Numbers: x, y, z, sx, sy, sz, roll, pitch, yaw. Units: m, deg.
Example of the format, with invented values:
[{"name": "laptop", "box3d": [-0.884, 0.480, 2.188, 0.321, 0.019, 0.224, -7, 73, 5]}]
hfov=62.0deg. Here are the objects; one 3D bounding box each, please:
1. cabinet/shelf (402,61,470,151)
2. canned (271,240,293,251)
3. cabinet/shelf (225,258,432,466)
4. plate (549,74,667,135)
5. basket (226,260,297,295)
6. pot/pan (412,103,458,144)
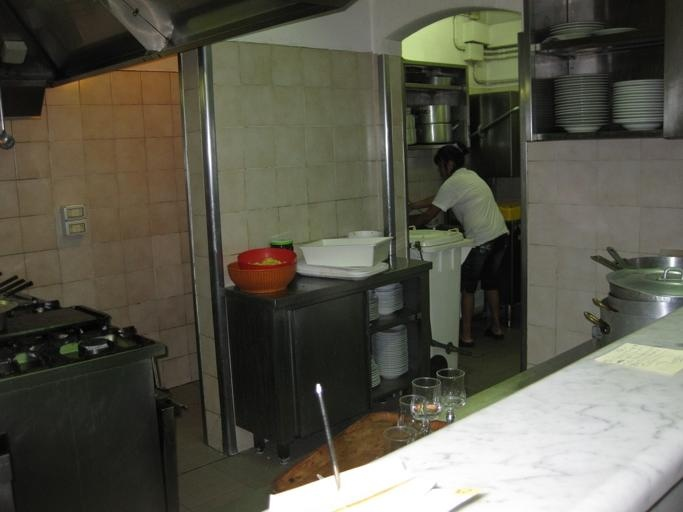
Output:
[{"name": "cabinet/shelf", "box3d": [0.844, -1.422, 5.544, 0.937, 0.790, 0.327, -11, 11, -40]}, {"name": "canned", "box3d": [-0.360, -0.070, 3.542, 0.083, 0.074, 0.082, -5, 6, -32]}, {"name": "cabinet/shelf", "box3d": [0.005, 0.604, 3.658, 1.307, 0.949, 0.491, -10, 10, -42]}, {"name": "plate", "box3d": [1.362, -0.752, 2.904, 0.466, 0.206, 0.315, 6, 11, 42]}, {"name": "basket", "box3d": [-0.431, 0.126, 3.177, 0.231, 0.094, 0.219, -8, 11, -25]}, {"name": "pot/pan", "box3d": [0.886, -1.277, 5.601, 0.375, 0.357, 0.414, -9, 13, -21]}]
